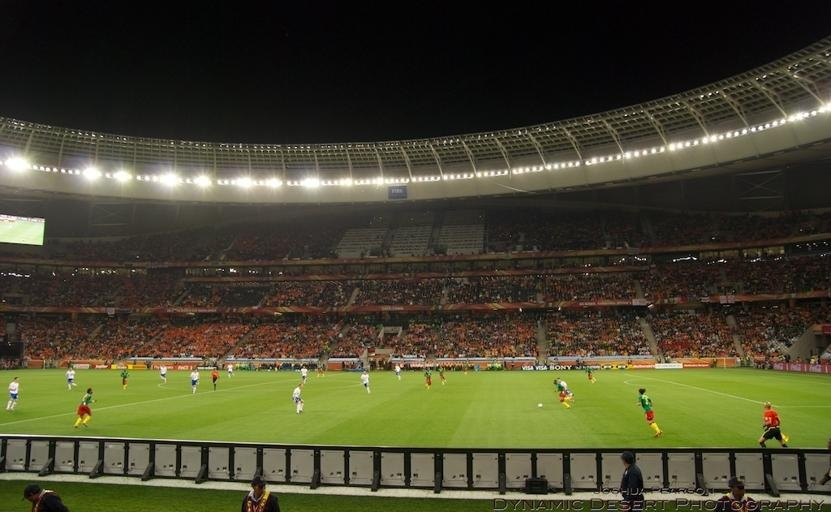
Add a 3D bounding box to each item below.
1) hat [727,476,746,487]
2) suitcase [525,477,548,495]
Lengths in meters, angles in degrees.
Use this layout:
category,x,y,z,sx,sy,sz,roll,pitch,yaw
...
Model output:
category,x,y,z,sx,sy,sz,roll,pitch,yaw
hat,15.474,10.887,28.022,0.624,0.496,0.559,-1,0,26
suitcase,6.728,12.744,32.210,1.038,0.548,0.934,-2,-3,8
